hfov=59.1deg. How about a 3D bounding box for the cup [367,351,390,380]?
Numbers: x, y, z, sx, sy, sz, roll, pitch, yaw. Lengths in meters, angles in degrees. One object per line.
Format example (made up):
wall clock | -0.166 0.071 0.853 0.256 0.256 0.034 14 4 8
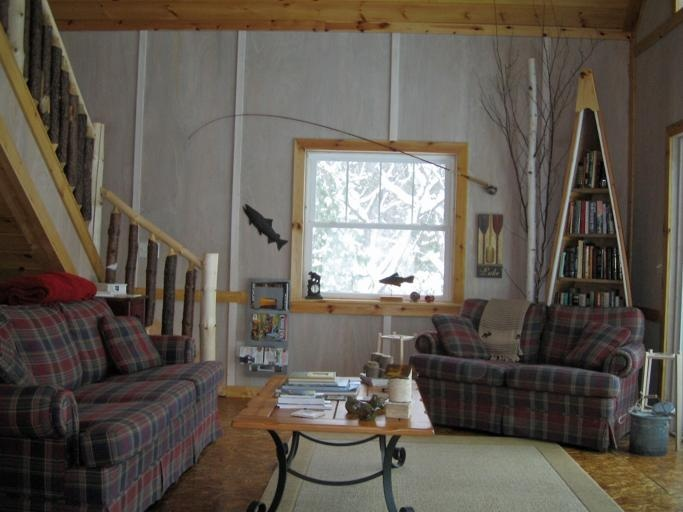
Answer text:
cup | 0.251 0.769 4.268 0.142 0.157 0.148 6 -8 1

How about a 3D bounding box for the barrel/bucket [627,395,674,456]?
barrel/bucket | 2.362 1.311 4.740 0.351 0.499 0.356 0 -3 0

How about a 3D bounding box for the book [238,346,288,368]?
book | -0.797 1.015 6.091 0.483 0.216 0.047 1 9 1

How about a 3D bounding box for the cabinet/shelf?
cabinet/shelf | 2.322 -0.869 5.610 0.530 1.620 0.419 1 22 27

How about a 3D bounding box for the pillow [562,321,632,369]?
pillow | 2.138 0.765 5.054 0.380 0.375 0.442 -8 13 -43

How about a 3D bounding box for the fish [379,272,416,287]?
fish | 0.569 0.239 6.148 0.361 0.157 0.228 2 10 6
